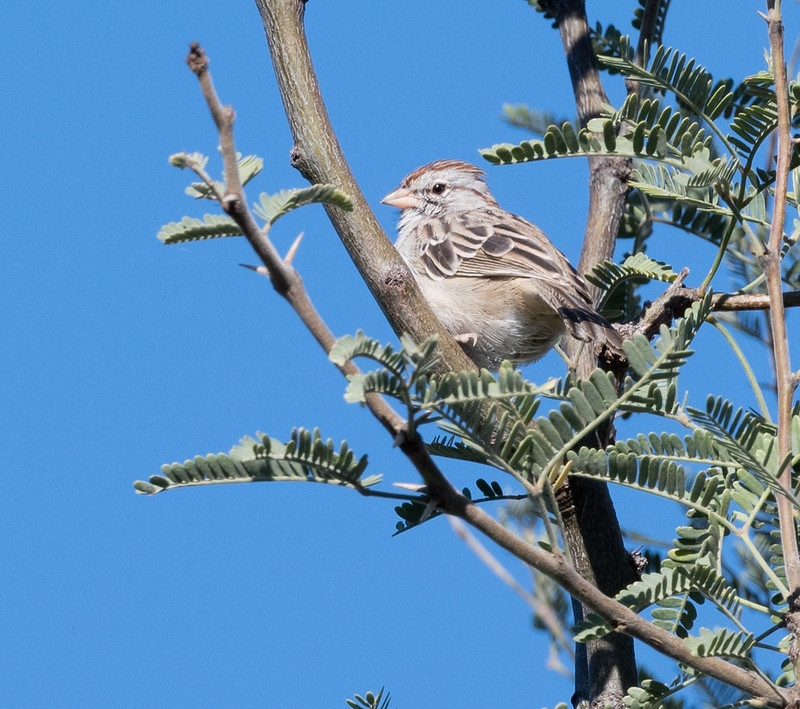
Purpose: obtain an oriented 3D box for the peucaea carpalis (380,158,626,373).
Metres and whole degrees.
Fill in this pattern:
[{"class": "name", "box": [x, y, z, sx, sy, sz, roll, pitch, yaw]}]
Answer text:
[{"class": "peucaea carpalis", "box": [0.330, -0.408, 7.218, 0.497, 1.495, 0.775, -6, -72, -32]}]
